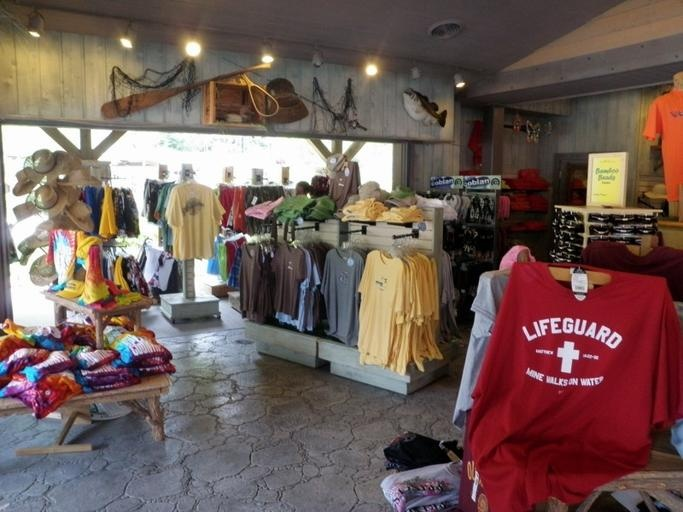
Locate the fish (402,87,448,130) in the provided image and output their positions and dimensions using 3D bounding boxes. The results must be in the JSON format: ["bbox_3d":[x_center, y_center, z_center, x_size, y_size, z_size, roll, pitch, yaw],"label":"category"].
[{"bbox_3d":[1.415,-2.473,7.857,0.869,0.572,0.294,-8,14,-37],"label":"fish"}]

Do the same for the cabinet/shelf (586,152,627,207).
[{"bbox_3d":[3.109,-0.857,5.496,0.484,0.707,0.248,9,13,42],"label":"cabinet/shelf"}]

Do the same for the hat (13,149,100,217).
[{"bbox_3d":[-3.322,-0.825,5.416,0.864,0.795,0.394,-5,13,-27],"label":"hat"}]
